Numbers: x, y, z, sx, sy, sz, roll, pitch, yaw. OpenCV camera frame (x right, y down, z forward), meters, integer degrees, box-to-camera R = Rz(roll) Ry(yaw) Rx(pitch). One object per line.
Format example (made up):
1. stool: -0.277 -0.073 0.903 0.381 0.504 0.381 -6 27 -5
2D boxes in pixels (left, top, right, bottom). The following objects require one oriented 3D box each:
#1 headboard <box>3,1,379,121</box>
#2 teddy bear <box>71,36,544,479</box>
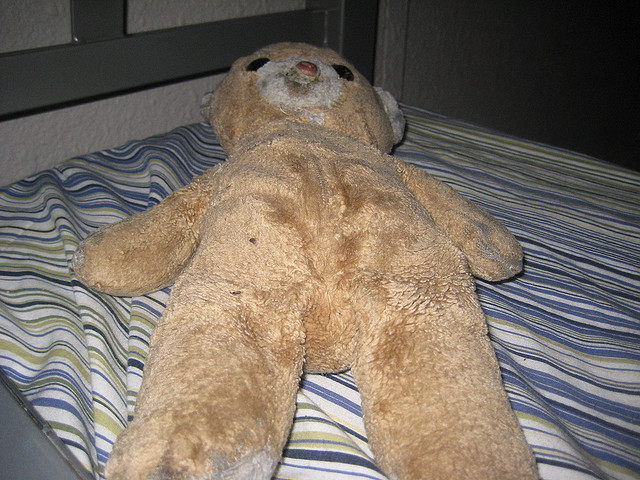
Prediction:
1. headboard: -0.344 -0.413 1.455 0.562 0.316 0.028 -21 47 -30
2. teddy bear: -0.025 0.019 1.042 0.762 0.394 0.779 2 37 2
